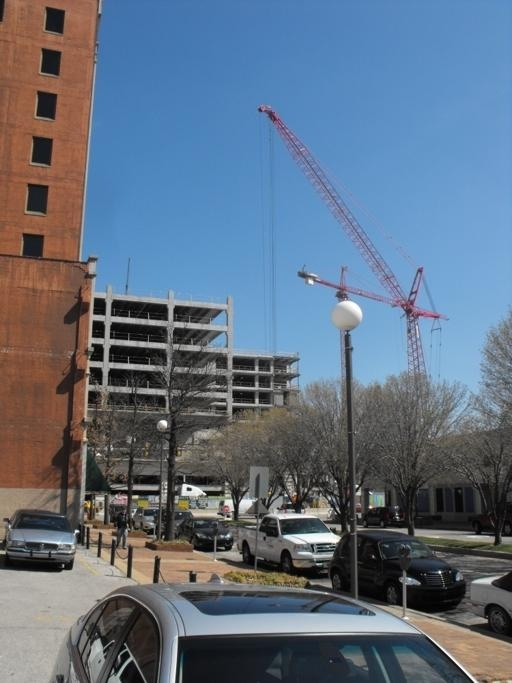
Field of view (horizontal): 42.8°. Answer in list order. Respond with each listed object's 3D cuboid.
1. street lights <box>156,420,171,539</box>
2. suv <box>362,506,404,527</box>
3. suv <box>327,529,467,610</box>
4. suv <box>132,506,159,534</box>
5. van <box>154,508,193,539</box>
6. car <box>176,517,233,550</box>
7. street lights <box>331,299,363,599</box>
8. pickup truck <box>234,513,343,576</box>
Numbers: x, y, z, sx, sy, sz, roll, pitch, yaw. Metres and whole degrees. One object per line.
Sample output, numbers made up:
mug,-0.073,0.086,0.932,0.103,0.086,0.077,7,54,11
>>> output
street lights,-4.225,6.353,29.827,0.883,5.621,0.813,-4,9,-40
suv,8.499,11.835,43.835,1.046,1.438,2.810,7,-12,-29
suv,3.051,5.062,14.591,1.659,1.486,3.280,5,-13,-26
suv,-6.016,10.166,36.982,1.545,1.360,2.886,6,-22,-18
van,-4.131,9.209,33.083,1.698,1.524,3.591,3,-25,-14
car,-1.836,8.035,28.037,1.793,1.367,4.209,5,-20,-19
street lights,1.323,1.419,9.272,0.666,4.129,0.541,-4,-17,17
pickup truck,1.155,6.294,20.524,2.202,1.615,4.519,6,-13,-26
